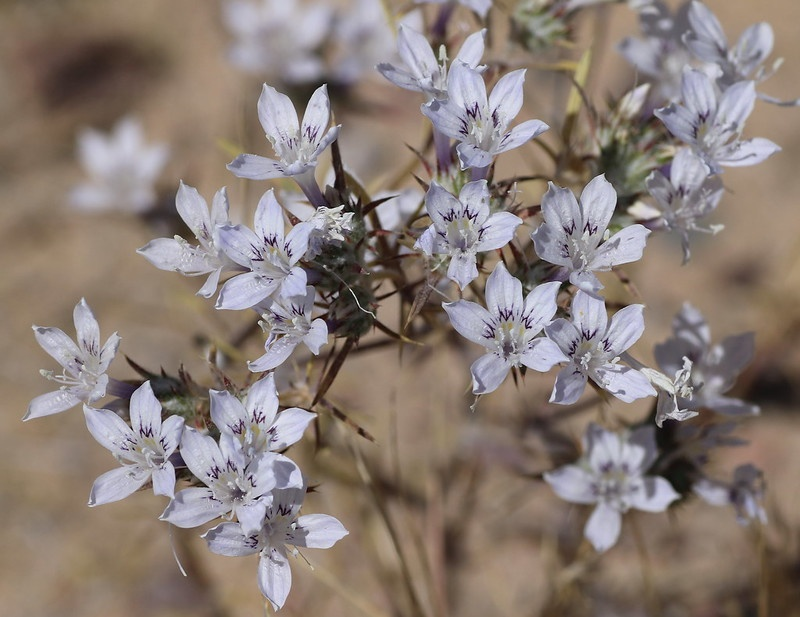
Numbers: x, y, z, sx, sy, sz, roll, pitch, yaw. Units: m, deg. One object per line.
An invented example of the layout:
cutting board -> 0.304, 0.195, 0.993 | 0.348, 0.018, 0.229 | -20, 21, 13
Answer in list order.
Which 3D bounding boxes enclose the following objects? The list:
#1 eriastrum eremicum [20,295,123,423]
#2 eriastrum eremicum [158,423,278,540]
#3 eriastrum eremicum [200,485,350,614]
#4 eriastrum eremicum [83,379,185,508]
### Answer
eriastrum eremicum -> -1.351, 0.233, 4.256 | 0.425, 0.546, 0.258 | 13, 1, 43
eriastrum eremicum -> -0.702, 0.665, 4.130 | 0.527, 0.376, 0.657 | 17, -7, -35
eriastrum eremicum -> -0.522, 0.953, 4.126 | 0.470, 0.562, 0.215 | 9, -9, -27
eriastrum eremicum -> -1.054, 0.602, 4.251 | 0.391, 0.523, 0.193 | 28, 10, 17
